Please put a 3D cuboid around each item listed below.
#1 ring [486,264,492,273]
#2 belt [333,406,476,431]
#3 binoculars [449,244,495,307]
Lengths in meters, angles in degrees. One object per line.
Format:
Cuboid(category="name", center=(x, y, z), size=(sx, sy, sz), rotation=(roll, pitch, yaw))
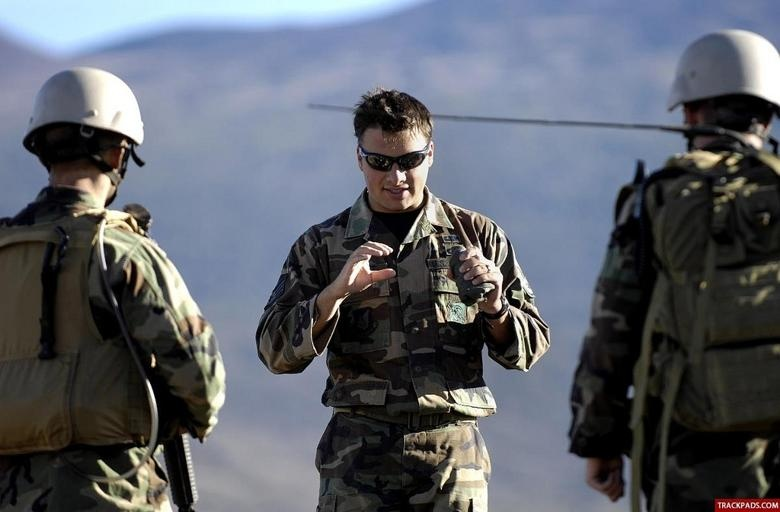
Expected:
Cuboid(category="ring", center=(0.524, 0.060, 10.270), size=(0.031, 0.034, 0.036), rotation=(-5, -6, 34))
Cuboid(category="belt", center=(0.077, 0.895, 10.483), size=(0.771, 0.116, 0.192), rotation=(4, -16, 0))
Cuboid(category="binoculars", center=(0.447, 0.091, 10.317), size=(0.196, 0.348, 0.132), rotation=(-7, -32, -9))
